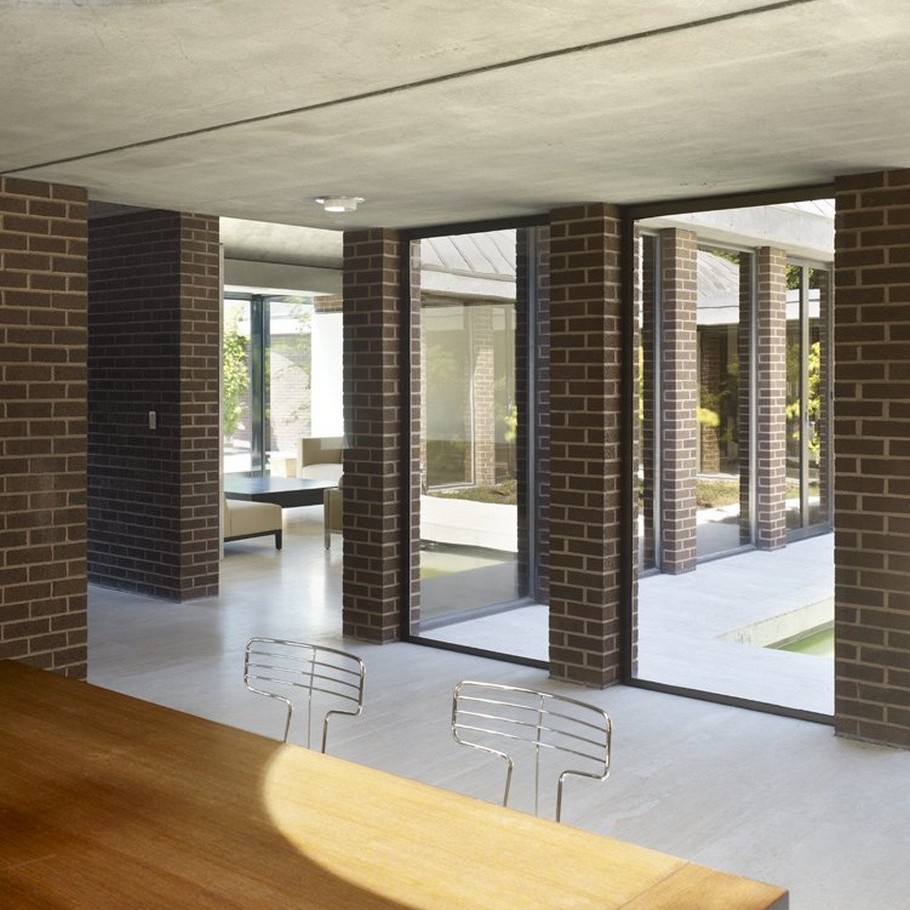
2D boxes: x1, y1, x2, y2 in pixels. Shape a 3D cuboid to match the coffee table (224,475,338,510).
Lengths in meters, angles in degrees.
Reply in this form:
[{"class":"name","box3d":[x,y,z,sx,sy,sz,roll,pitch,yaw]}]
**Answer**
[{"class":"coffee table","box3d":[-2.252,0.497,10.971,1.368,0.363,1.523,-2,3,-12]}]
